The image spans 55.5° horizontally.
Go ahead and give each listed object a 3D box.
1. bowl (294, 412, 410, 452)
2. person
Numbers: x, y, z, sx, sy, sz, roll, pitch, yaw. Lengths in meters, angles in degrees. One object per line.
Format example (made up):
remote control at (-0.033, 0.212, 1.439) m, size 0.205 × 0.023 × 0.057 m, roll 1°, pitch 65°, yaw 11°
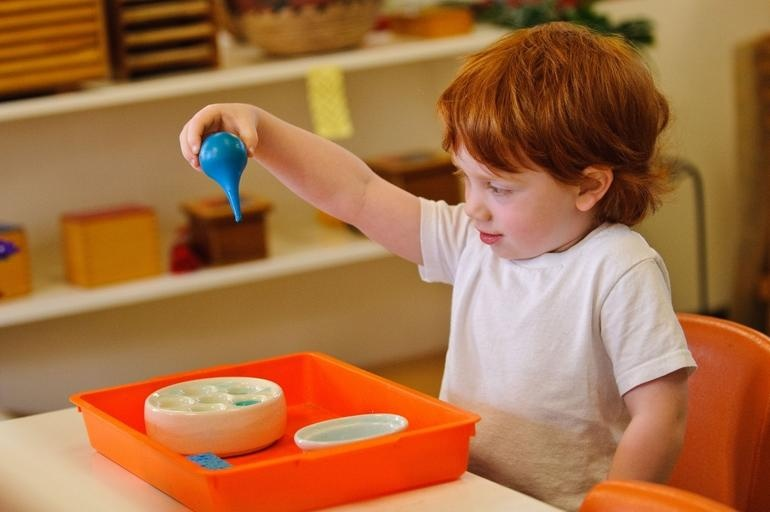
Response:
bowl at (-0.043, 0.226, 0.955) m, size 0.083 × 0.016 × 0.067 m, roll -11°, pitch -2°, yaw 14°
person at (0.091, 0.030, 1.486) m, size 0.760 × 1.149 × 0.687 m, roll -2°, pitch -2°, yaw -28°
